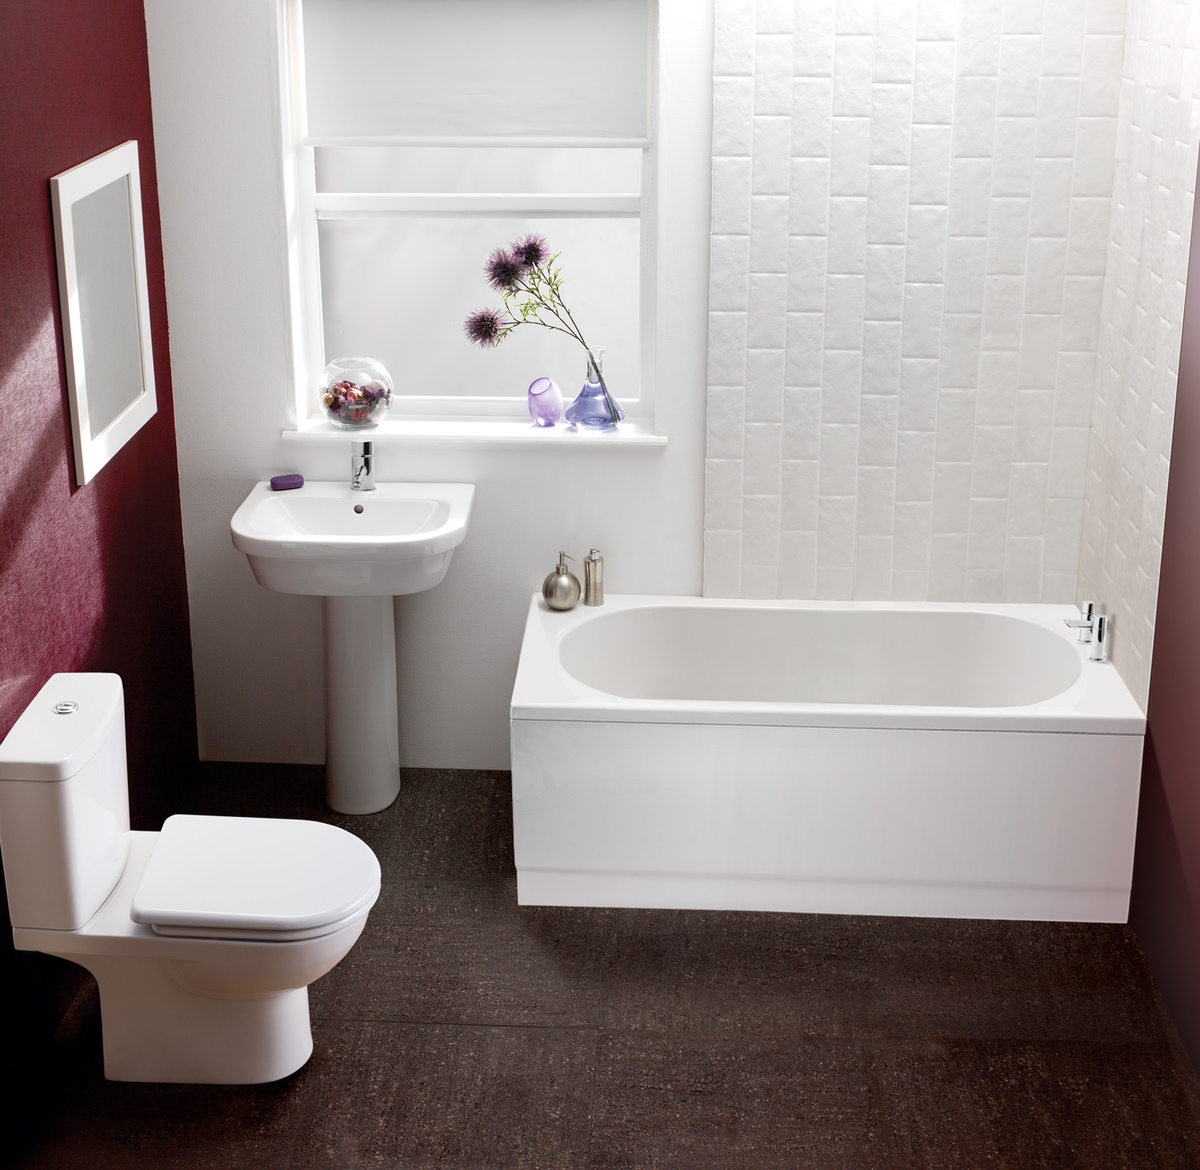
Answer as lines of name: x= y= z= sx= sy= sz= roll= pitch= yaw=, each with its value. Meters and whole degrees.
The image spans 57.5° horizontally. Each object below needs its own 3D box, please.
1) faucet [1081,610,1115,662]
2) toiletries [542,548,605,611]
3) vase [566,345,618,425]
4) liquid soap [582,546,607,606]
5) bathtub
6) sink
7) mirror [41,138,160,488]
faucet: x=1.248 y=0.133 z=2.739 sx=0.059 sy=0.131 sz=0.117 roll=0 pitch=6 yaw=4
toiletries: x=-0.079 y=-0.031 z=3.055 sx=0.175 sy=0.198 sz=0.124 roll=2 pitch=19 yaw=-1
vase: x=-0.020 y=-0.567 z=3.100 sx=0.155 sy=0.249 sz=0.159 roll=0 pitch=15 yaw=0
liquid soap: x=-0.024 y=-0.027 z=3.060 sx=0.067 sy=0.215 sz=0.085 roll=6 pitch=18 yaw=17
bathtub: x=0.546 y=0.405 z=2.863 sx=1.501 sy=0.618 sz=0.648 roll=3 pitch=26 yaw=2
sink: x=-0.655 y=-0.090 z=2.870 sx=0.603 sy=0.310 sz=0.527 roll=1 pitch=27 yaw=-3
mirror: x=-1.138 y=-0.652 z=2.547 sx=0.014 sy=0.576 sz=0.512 roll=-8 pitch=19 yaw=-13
